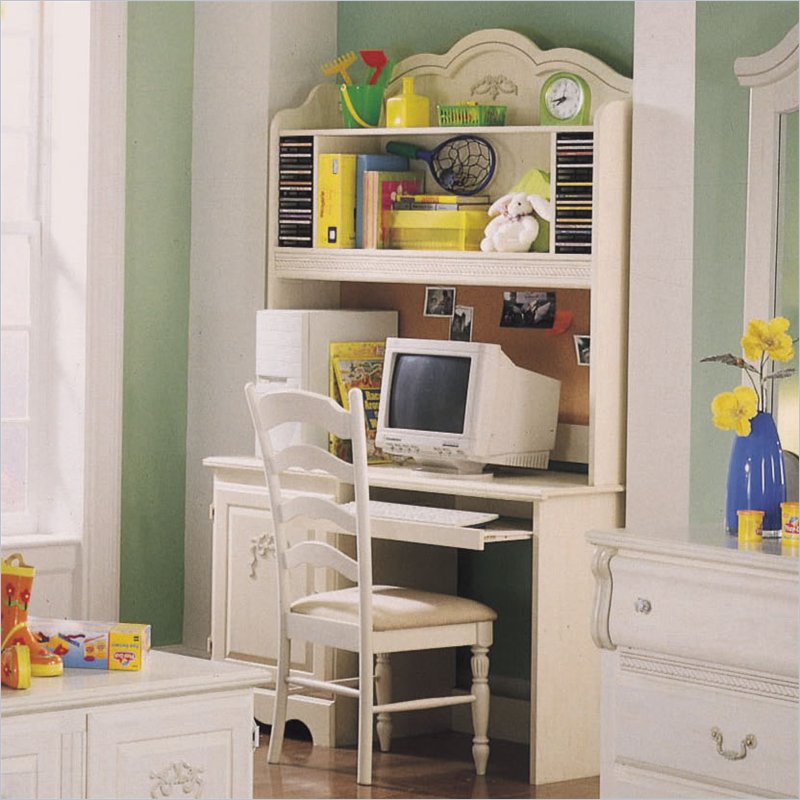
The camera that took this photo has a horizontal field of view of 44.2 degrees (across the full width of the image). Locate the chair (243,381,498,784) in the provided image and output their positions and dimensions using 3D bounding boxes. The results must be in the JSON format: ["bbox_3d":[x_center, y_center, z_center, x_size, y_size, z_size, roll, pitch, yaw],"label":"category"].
[{"bbox_3d":[-0.145,0.418,2.432,0.542,0.941,0.647,4,-4,-37],"label":"chair"}]

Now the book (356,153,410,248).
[{"bbox_3d":[-0.055,-0.556,2.800,0.079,0.258,0.253,4,9,20],"label":"book"}]

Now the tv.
[{"bbox_3d":[0.182,0.009,2.604,0.373,0.300,0.366,3,-2,-40],"label":"tv"}]

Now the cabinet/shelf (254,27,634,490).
[{"bbox_3d":[0.142,-0.366,2.633,1.231,1.430,0.358,3,4,43],"label":"cabinet/shelf"}]

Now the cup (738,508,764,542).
[{"bbox_3d":[0.520,0.188,1.470,0.042,0.047,0.043,1,-4,0],"label":"cup"}]

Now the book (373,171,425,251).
[{"bbox_3d":[-0.011,-0.525,2.772,0.040,0.291,0.242,1,0,30],"label":"book"}]
